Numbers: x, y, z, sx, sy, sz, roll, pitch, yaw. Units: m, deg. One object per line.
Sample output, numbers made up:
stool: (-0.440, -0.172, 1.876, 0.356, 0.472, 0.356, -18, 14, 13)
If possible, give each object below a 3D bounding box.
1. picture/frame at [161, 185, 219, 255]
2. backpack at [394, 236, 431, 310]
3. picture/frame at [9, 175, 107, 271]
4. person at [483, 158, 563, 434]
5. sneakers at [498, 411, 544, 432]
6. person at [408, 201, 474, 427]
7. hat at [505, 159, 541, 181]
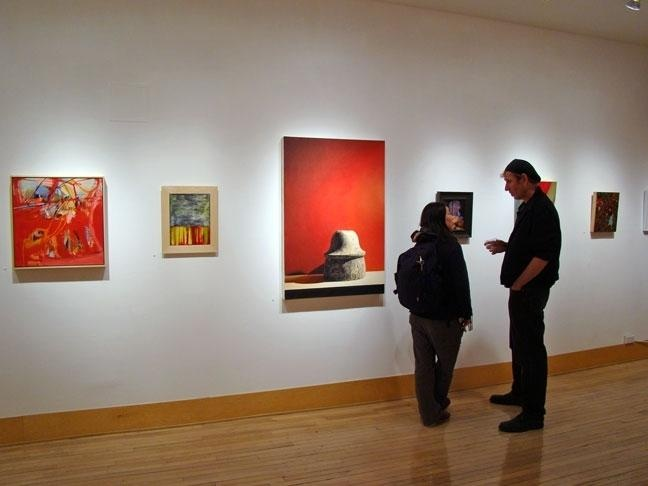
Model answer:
picture/frame: (-1.413, -0.245, 5.172, 0.629, 0.859, 0.069, -1, 5, -7)
backpack: (0.892, 0.342, 5.134, 0.223, 0.693, 0.424, -3, 6, -37)
picture/frame: (-2.655, -0.206, 4.933, 0.832, 0.980, 0.038, -1, 2, -6)
person: (2.091, 0.534, 5.175, 0.575, 2.760, 0.527, 2, 5, 24)
sneakers: (2.040, 1.841, 5.231, 0.492, 0.199, 0.187, 0, -5, -8)
person: (1.173, 0.751, 5.105, 0.605, 2.281, 0.333, 2, 4, 15)
hat: (2.097, -0.713, 5.346, 0.294, 0.144, 0.225, 21, 11, 2)
